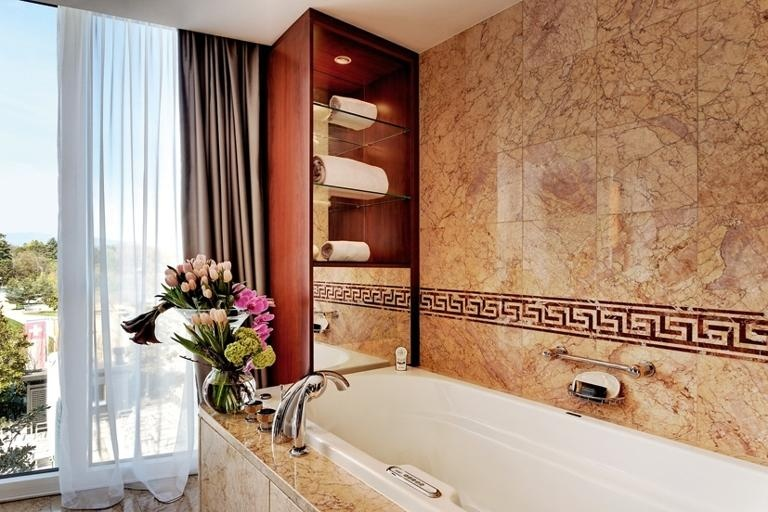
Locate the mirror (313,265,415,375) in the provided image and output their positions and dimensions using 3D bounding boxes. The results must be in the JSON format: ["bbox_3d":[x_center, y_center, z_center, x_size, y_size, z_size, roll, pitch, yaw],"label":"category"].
[{"bbox_3d":[-0.161,0.429,3.666,0.688,0.700,0.044,3,-5,-36],"label":"mirror"}]

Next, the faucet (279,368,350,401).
[{"bbox_3d":[-0.354,0.648,2.790,0.265,0.101,0.262,-2,-2,-30],"label":"faucet"}]

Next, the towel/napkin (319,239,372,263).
[{"bbox_3d":[-0.251,-0.033,3.655,0.376,0.107,0.082,-2,-2,-40],"label":"towel/napkin"}]

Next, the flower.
[{"bbox_3d":[-0.972,0.371,3.350,0.884,0.908,0.886,2,-1,28],"label":"flower"}]
